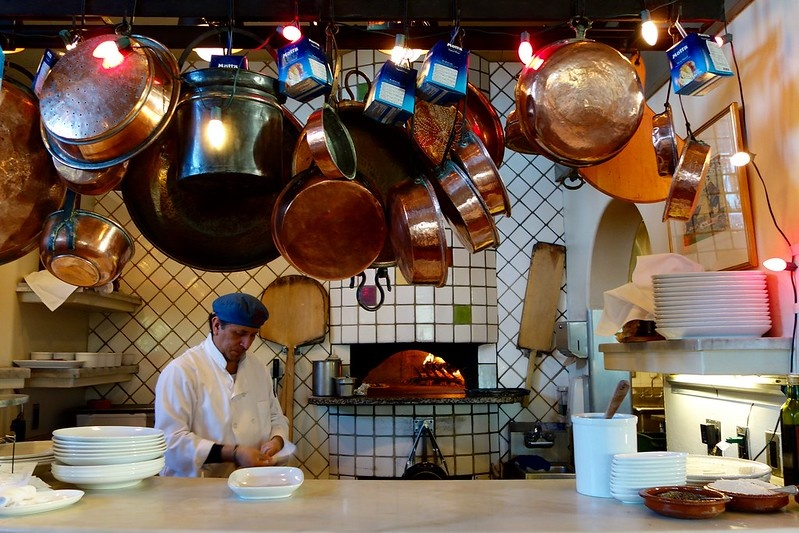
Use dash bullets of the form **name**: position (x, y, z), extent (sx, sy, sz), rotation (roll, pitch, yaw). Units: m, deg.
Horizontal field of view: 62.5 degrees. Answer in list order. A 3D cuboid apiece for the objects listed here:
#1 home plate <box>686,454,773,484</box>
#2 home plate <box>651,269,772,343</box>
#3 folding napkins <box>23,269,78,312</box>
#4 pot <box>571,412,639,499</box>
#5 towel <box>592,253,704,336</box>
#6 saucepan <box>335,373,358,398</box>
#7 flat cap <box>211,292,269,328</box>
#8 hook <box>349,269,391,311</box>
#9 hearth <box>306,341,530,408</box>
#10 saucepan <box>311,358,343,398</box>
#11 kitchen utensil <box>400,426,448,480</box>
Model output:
- **home plate**: position (1.101, 0.710, 2.289), extent (0.178, 0.039, 0.175), rotation (1, -3, -44)
- **home plate**: position (1.162, 0.146, 2.466), extent (0.401, 0.260, 0.114), rotation (0, 10, 6)
- **folding napkins**: position (-2.056, 0.135, 3.856), extent (0.196, 0.062, 0.217), rotation (35, 32, 8)
- **pot**: position (0.633, 0.644, 2.285), extent (0.274, 0.279, 0.264), rotation (1, -5, 0)
- **towel**: position (1.005, 0.113, 2.800), extent (0.396, 0.377, 0.135), rotation (-9, -24, 41)
- **saucepan**: position (-0.380, 0.833, 4.552), extent (0.134, 0.094, 0.131), rotation (0, -1, 3)
- **flat cap**: position (-0.744, 0.205, 3.101), extent (0.173, 0.113, 0.214), rotation (8, -3, -41)
- **hook**: position (-0.182, 0.154, 3.951), extent (0.301, 0.350, 0.082), rotation (3, -17, -10)
- **hearth**: position (0.239, 0.809, 4.777), extent (1.220, 0.414, 0.680), rotation (0, 10, 2)
- **saucepan**: position (-0.514, 0.767, 4.591), extent (0.256, 0.250, 0.246), rotation (1, -11, -2)
- **kitchen utensil**: position (0.151, 1.156, 4.136), extent (0.321, 0.325, 0.307), rotation (-1, -1, 8)
